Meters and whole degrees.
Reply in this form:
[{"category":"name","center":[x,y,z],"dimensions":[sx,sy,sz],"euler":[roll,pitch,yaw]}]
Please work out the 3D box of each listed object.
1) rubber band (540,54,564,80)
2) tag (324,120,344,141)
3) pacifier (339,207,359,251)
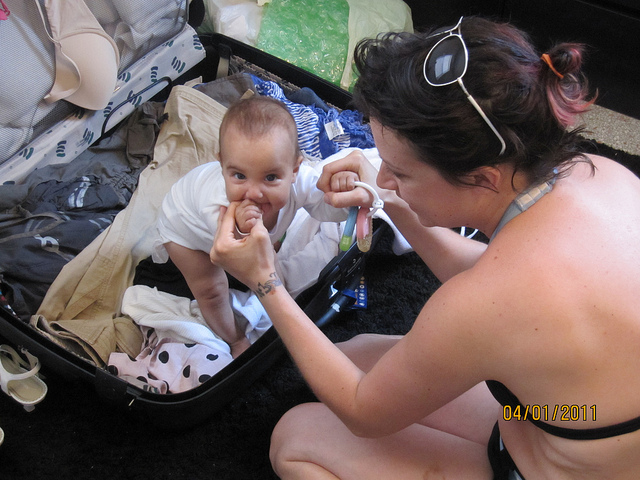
[{"category":"rubber band","center":[0.422,-0.323,0.918],"dimensions":[0.042,0.011,0.034],"euler":[47,23,-18]},{"category":"tag","center":[0.051,-0.408,1.842],"dimensions":[0.063,0.057,0.040],"euler":[-4,46,-15]},{"category":"pacifier","center":[0.089,-0.037,1.340],"dimensions":[0.032,0.035,0.147],"euler":[30,60,-11]}]
